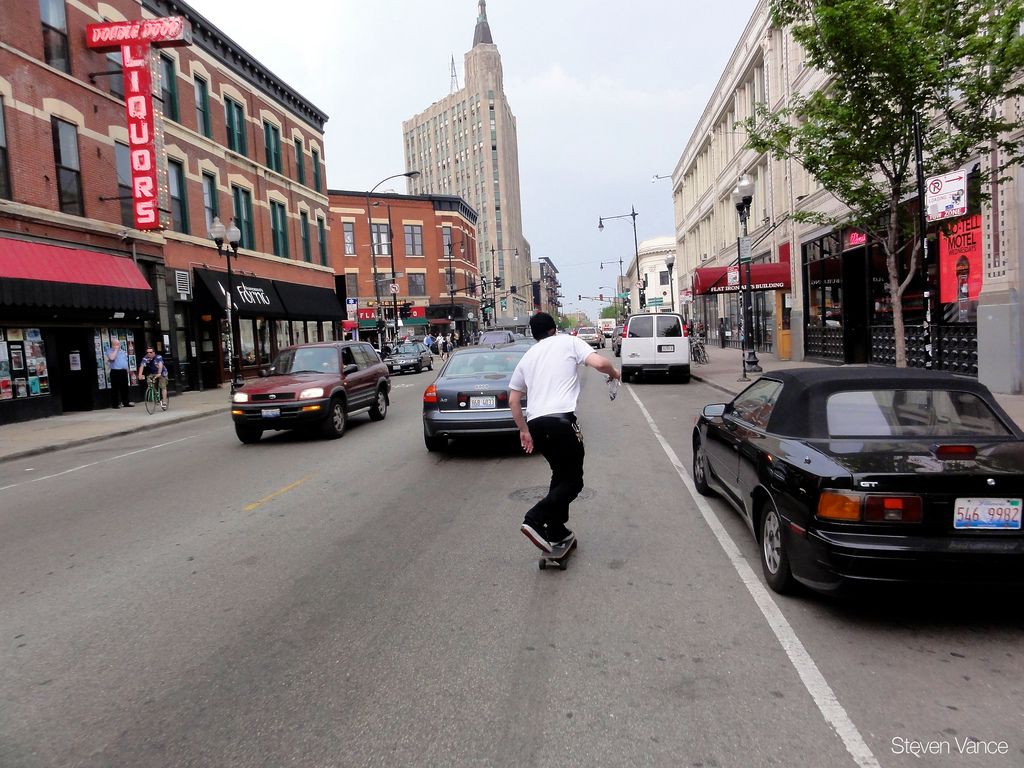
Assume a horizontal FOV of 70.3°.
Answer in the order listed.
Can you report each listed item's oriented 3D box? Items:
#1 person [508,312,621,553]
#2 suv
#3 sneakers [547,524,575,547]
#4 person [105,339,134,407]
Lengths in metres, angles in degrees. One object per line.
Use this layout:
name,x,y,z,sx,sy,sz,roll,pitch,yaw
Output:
person,0.487,0.464,6.919,1.022,2.363,0.944,10,-19,-34
suv,-3.916,0.134,15.123,1.542,1.624,3.540,-2,0,13
sneakers,0.456,1.398,6.724,0.248,0.125,0.138,-3,8,38
person,-12.730,-0.359,23.519,0.536,2.195,0.953,-6,9,-29
